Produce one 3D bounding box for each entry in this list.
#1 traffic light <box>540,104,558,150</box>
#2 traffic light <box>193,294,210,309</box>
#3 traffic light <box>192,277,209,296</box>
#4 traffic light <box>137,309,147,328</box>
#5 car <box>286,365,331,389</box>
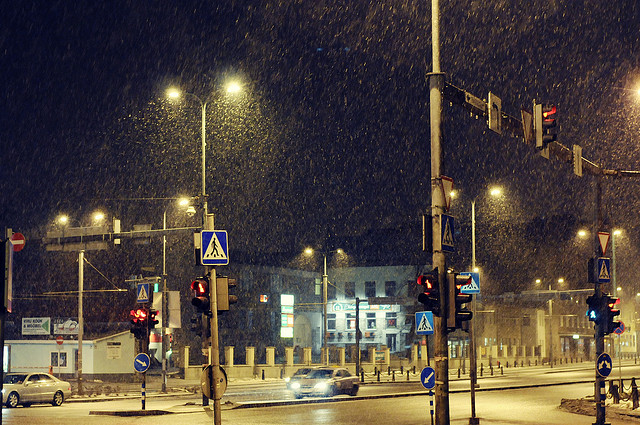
[{"bbox_3d":[15.085,-5.595,74.398,1.010,2.700,0.582,-5,-13,12],"label":"traffic light"},{"bbox_3d":[-7.752,5.828,72.563,0.667,0.885,0.847,5,-2,17],"label":"traffic light"},{"bbox_3d":[-7.848,4.858,73.157,1.199,1.632,0.936,-1,-3,16],"label":"traffic light"},{"bbox_3d":[-13.591,8.135,85.314,0.712,1.293,0.543,0,-13,-7],"label":"traffic light"},{"bbox_3d":[-1.363,13.299,91.633,1.643,1.840,3.012,-8,-16,36],"label":"car"}]
